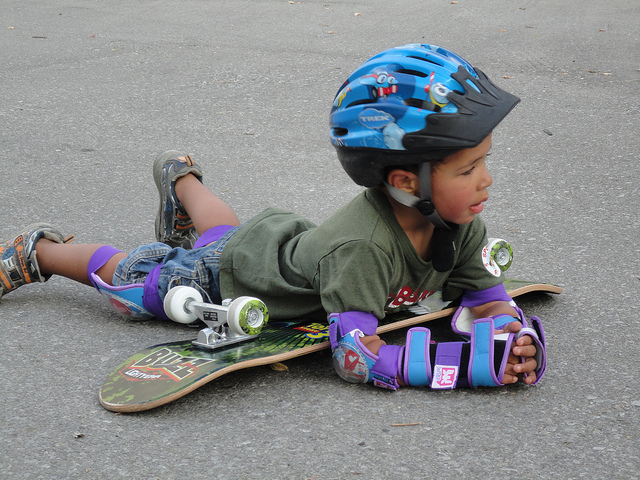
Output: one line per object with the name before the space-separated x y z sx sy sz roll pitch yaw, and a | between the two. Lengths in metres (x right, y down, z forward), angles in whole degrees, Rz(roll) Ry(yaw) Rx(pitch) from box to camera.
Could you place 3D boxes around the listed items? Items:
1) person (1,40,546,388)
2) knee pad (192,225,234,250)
person | -0.040 -0.145 2.387 2.239 1.264 0.947 15 38 22
knee pad | -0.544 -0.016 2.891 0.125 0.160 0.079 17 40 -57
